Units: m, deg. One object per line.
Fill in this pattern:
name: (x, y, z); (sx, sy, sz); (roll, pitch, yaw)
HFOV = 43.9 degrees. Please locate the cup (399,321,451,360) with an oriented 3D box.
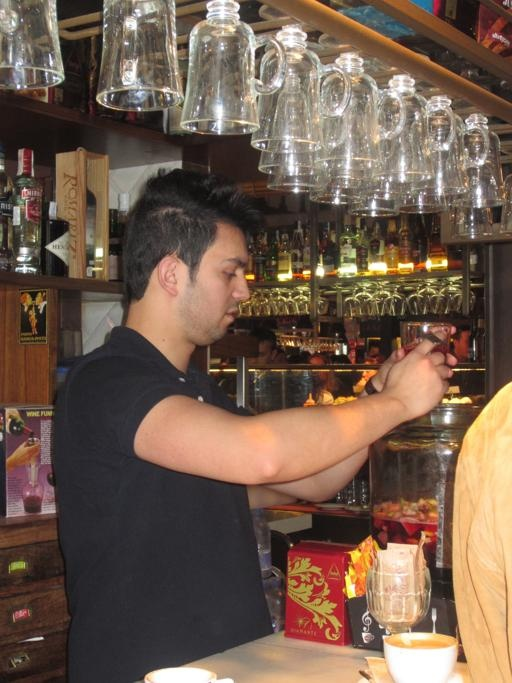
cup: (0.352, -0.005, 1.342); (0.086, 0.077, 0.076); (0, -4, 36)
